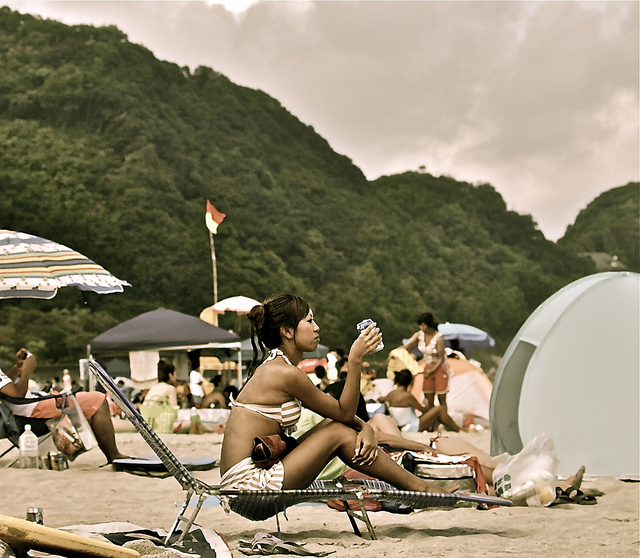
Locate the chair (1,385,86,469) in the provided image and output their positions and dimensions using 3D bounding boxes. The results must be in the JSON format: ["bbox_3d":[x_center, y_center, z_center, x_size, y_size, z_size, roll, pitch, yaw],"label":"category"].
[{"bbox_3d":[-5.140,2.763,21.554,1.257,1.464,1.181,0,-1,-2],"label":"chair"}]

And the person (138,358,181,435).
[{"bbox_3d":[-3.420,2.506,24.488,1.101,1.786,0.746,2,-15,-1],"label":"person"}]

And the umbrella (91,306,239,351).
[{"bbox_3d":[-3.725,1.238,27.409,3.210,0.777,0.851,-2,7,4],"label":"umbrella"}]

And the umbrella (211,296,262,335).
[{"bbox_3d":[-2.223,0.693,30.616,1.054,1.394,1.113,9,-1,-41],"label":"umbrella"}]

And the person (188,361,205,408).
[{"bbox_3d":[-2.819,2.422,26.548,0.303,1.135,0.331,4,19,10],"label":"person"}]

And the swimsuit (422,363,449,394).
[{"bbox_3d":[2.465,2.089,24.190,0.617,0.941,0.510,0,-3,20],"label":"swimsuit"}]

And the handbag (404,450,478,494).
[{"bbox_3d":[2.073,3.228,19.474,0.764,0.581,0.860,0,-2,10],"label":"handbag"}]

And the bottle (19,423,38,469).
[{"bbox_3d":[-5.306,3.025,21.037,0.340,0.810,0.132,-4,7,-19],"label":"bottle"}]

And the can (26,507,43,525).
[{"bbox_3d":[-4.494,3.736,18.188,0.247,0.254,0.445,-4,7,-13],"label":"can"}]

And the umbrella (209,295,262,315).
[{"bbox_3d":[-2.273,0.687,30.475,0.875,0.391,0.957,1,1,17],"label":"umbrella"}]

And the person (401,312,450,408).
[{"bbox_3d":[2.235,1.946,24.153,0.890,2.607,0.909,-6,11,2],"label":"person"}]
